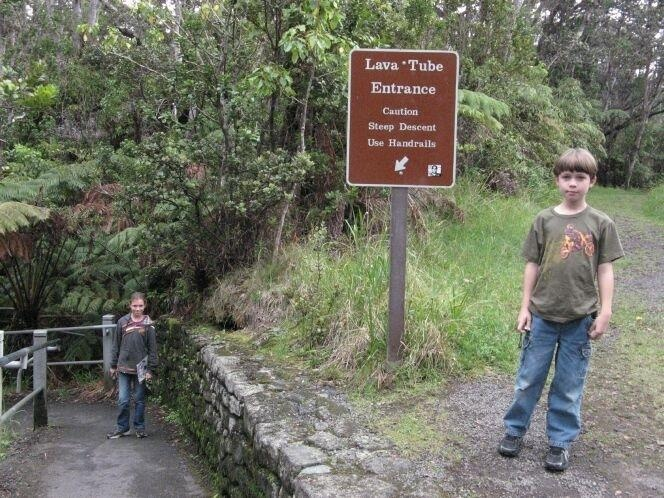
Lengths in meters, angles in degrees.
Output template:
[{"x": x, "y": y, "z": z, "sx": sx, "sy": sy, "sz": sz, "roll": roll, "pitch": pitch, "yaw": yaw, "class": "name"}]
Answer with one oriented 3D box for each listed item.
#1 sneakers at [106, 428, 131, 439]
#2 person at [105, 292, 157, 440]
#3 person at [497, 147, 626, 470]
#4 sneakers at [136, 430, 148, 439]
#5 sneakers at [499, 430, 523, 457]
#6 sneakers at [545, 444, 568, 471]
[{"x": -2.788, "y": 2.380, "z": 7.350, "sx": 0.266, "sy": 0.126, "sz": 0.104, "roll": 11, "pitch": 2, "yaw": -37, "class": "sneakers"}, {"x": -2.611, "y": 1.515, "z": 7.402, "sx": 0.556, "sy": 1.916, "sz": 0.301, "roll": 5, "pitch": -2, "yaw": -25, "class": "person"}, {"x": 1.805, "y": 0.453, "z": 4.432, "sx": 0.796, "sy": 2.485, "sz": 0.272, "roll": 3, "pitch": -2, "yaw": 29, "class": "person"}, {"x": -2.514, "y": 2.441, "z": 7.420, "sx": 0.067, "sy": 0.076, "sz": 0.141, "roll": 4, "pitch": -8, "yaw": -39, "class": "sneakers"}, {"x": 1.403, "y": 1.551, "z": 4.463, "sx": 0.100, "sy": 0.123, "sz": 0.249, "roll": 5, "pitch": 12, "yaw": 20, "class": "sneakers"}, {"x": 1.719, "y": 1.599, "z": 4.319, "sx": 0.094, "sy": 0.135, "sz": 0.273, "roll": 0, "pitch": 3, "yaw": 20, "class": "sneakers"}]
